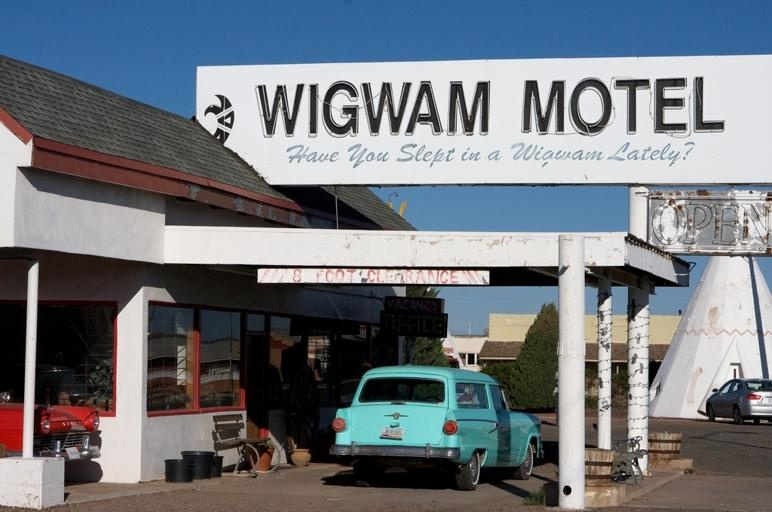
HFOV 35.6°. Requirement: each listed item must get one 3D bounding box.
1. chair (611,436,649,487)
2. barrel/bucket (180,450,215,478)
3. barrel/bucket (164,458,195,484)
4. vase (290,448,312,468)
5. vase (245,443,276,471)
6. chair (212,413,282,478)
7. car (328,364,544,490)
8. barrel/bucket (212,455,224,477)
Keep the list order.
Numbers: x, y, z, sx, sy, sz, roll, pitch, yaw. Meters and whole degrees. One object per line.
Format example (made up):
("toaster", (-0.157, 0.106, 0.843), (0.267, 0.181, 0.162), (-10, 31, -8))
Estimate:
("chair", (4.772, 4.034, 23.536), (0.792, 0.931, 0.791), (-2, -2, 13))
("barrel/bucket", (-3.747, 4.162, 23.976), (0.497, 0.430, 0.534), (0, -8, 0))
("barrel/bucket", (-4.087, 4.201, 23.586), (0.449, 0.384, 0.420), (0, -2, 0))
("vase", (-1.893, 4.581, 27.192), (0.358, 0.332, 0.389), (0, -3, -16))
("vase", (-2.687, 4.370, 25.731), (0.576, 0.504, 0.626), (-1, -7, 4))
("chair", (-3.005, 3.958, 25.680), (0.819, 1.209, 1.799), (0, -6, -1))
("car", (1.124, 3.323, 23.342), (4.181, 1.962, 1.793), (9, -3, -34))
("barrel/bucket", (-3.404, 4.292, 24.401), (0.306, 0.380, 0.349), (-2, -6, 11))
